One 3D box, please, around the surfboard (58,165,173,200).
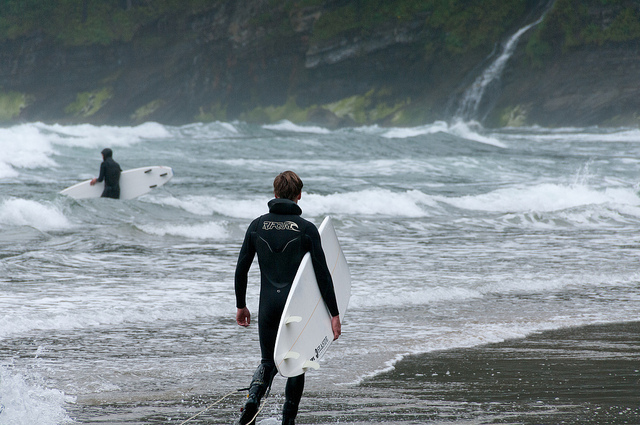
[{"bbox_3d":[-12.396,-1.926,84.539,10.372,2.044,1.007,-11,8,-31],"label":"surfboard"}]
